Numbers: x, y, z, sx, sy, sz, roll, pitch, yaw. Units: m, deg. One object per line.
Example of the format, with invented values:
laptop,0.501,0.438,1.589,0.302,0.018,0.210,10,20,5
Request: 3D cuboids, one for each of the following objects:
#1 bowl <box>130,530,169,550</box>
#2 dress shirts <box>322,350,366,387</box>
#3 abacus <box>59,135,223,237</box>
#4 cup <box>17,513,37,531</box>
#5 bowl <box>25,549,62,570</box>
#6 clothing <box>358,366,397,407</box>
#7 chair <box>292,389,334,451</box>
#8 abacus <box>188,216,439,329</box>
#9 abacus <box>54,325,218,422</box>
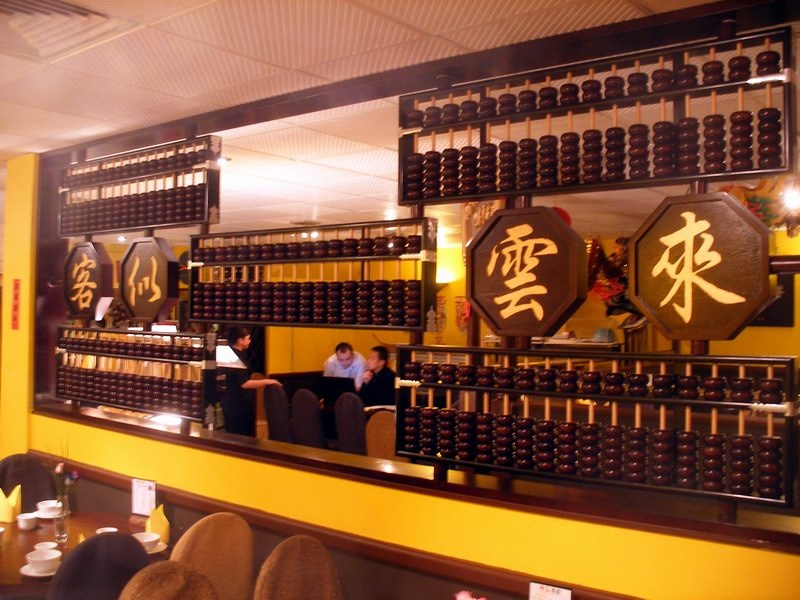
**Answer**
bowl,-1.315,1.260,3.513,0.169,0.046,0.149,3,-8,-14
dress shirts,-0.701,0.822,8.139,0.640,0.499,0.304,5,-20,3
abacus,-2.089,-0.865,5.206,1.892,0.601,0.187,-1,3,34
cup,-2.076,1.242,3.768,0.100,0.061,0.099,3,-2,0
bowl,-1.750,1.264,3.272,0.122,0.046,0.113,1,-3,0
clothing,-0.246,0.913,7.173,0.369,0.403,0.291,0,-4,-6
chair,-0.850,1.053,6.011,0.392,0.530,0.326,-1,-4,20
abacus,-0.599,-0.161,4.214,1.949,0.689,0.359,-3,-5,40
abacus,-2.097,0.550,5.139,1.937,0.667,0.265,1,1,33
